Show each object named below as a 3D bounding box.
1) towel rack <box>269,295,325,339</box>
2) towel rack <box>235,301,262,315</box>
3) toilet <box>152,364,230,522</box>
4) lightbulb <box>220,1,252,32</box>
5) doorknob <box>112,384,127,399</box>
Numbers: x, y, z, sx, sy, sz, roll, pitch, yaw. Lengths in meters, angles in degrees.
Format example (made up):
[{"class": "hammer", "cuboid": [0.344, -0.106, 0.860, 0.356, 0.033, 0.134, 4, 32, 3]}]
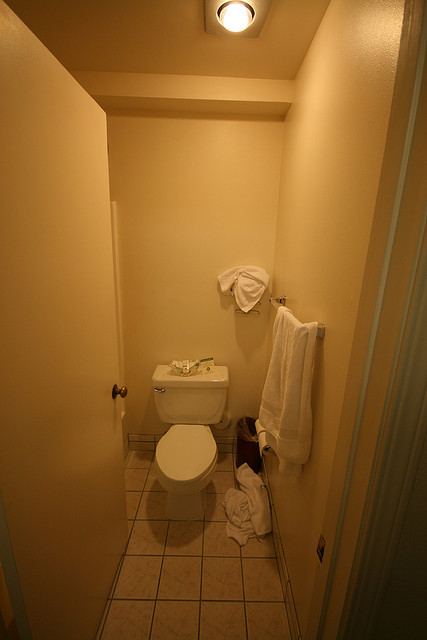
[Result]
[{"class": "towel rack", "cuboid": [0.299, -0.020, 1.505, 0.135, 0.138, 0.219, 0, 14, -12]}, {"class": "towel rack", "cuboid": [0.176, -0.065, 2.323, 0.114, 0.051, 0.005, 2, 5, -1]}, {"class": "toilet", "cuboid": [-0.118, 0.573, 2.185, 0.316, 0.513, 0.676, 1, 12, 0]}, {"class": "lightbulb", "cuboid": [0.071, -0.947, 1.444, 0.100, 0.062, 0.108, 0, 23, -5]}, {"class": "doorknob", "cuboid": [-0.330, 0.252, 1.632, 0.034, 0.063, 0.057, 0, -7, 5]}]
